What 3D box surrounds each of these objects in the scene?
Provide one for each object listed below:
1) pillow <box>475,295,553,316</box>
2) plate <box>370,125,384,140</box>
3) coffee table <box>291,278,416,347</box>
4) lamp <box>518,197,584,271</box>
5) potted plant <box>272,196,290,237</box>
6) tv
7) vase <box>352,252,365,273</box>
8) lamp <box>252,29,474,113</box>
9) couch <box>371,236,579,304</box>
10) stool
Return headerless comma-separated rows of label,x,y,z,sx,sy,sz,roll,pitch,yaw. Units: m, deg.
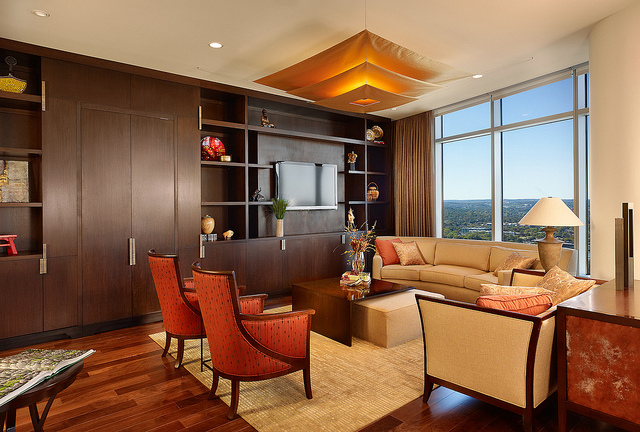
pillow,1.664,0.751,3.491,0.305,0.089,0.291,1,-3,-17
plate,1.141,-1.673,8.133,0.279,0.277,0.085,4,21,20
coffee table,0.167,1.108,5.132,0.882,0.376,0.904,0,-1,-39
lamp,2.673,0.189,4.902,0.772,0.999,0.790,-1,1,-7
potted plant,-0.659,0.020,6.870,0.250,0.659,0.363,-2,2,-4
tv,-0.208,-0.534,7.359,1.360,0.866,0.130,4,8,32
vase,0.488,0.618,5.397,0.150,0.279,0.141,-1,2,21
lamp,0.552,-1.708,4.914,1.212,0.310,1.146,0,-1,-38
couch,2.111,0.847,6.345,0.994,1.003,2.900,-5,3,-37
stool,0.878,1.210,4.969,0.762,0.461,1.012,-3,0,-35
